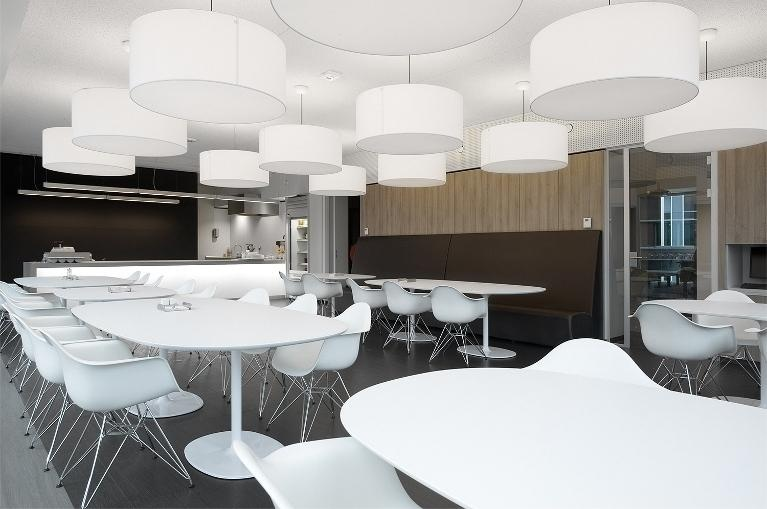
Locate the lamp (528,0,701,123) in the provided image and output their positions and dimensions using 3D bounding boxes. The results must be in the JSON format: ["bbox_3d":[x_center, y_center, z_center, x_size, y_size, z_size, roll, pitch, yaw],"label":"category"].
[{"bbox_3d":[1.401,-1.191,3.258,0.742,0.288,0.728,2,-2,-39],"label":"lamp"}]

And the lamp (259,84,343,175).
[{"bbox_3d":[-0.943,-1.357,5.796,0.689,0.745,0.681,2,-2,-37],"label":"lamp"}]

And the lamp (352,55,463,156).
[{"bbox_3d":[0.243,-1.316,4.797,0.761,0.840,0.766,1,1,-32],"label":"lamp"}]

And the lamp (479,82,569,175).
[{"bbox_3d":[1.625,-1.451,5.974,0.773,0.840,0.782,0,1,-1],"label":"lamp"}]

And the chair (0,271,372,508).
[{"bbox_3d":[-1.480,1.059,4.404,2.319,1.130,1.455,7,11,44],"label":"chair"}]

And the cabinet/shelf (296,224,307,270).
[{"bbox_3d":[-2.056,-0.164,12.984,0.233,1.103,0.356,-3,9,-11],"label":"cabinet/shelf"}]

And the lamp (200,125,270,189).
[{"bbox_3d":[-1.980,-1.312,7.132,0.760,0.293,0.766,-5,-6,44],"label":"lamp"}]

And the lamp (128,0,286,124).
[{"bbox_3d":[-1.240,-1.175,3.736,0.923,1.000,0.899,2,1,-36],"label":"lamp"}]
